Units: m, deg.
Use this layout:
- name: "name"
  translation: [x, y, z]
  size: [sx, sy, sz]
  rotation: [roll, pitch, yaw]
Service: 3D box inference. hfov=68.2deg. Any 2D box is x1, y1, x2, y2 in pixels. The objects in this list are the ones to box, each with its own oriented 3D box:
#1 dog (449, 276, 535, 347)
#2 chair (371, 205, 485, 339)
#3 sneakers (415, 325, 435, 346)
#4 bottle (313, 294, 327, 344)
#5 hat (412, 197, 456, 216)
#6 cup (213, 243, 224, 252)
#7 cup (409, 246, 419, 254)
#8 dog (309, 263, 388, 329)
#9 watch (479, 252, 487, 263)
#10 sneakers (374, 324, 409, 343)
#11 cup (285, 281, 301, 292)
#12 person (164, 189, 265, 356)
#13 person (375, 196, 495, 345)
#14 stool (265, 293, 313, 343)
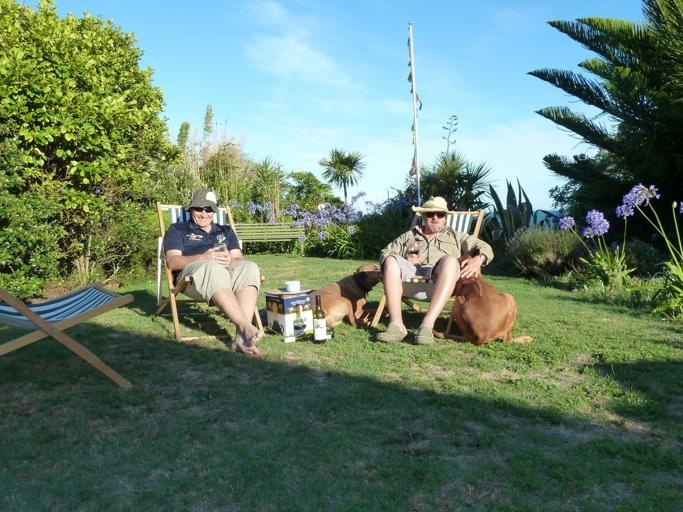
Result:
- name: "dog"
  translation: [1.399, 0.563, 4.838]
  size: [0.476, 0.413, 0.792]
  rotation: [-16, 44, 4]
- name: "chair"
  translation: [1.010, 0.073, 5.395]
  size: [1.196, 1.467, 2.063]
  rotation: [4, 5, 11]
- name: "sneakers"
  translation: [0.797, 0.759, 4.789]
  size: [0.146, 0.123, 0.278]
  rotation: [-1, -7, 7]
- name: "bottle"
  translation: [-0.212, 0.588, 4.973]
  size: [0.136, 0.453, 0.315]
  rotation: [-1, 11, -4]
- name: "hat"
  translation: [1.014, -0.547, 5.637]
  size: [0.265, 0.128, 0.294]
  rotation: [1, -4, -1]
- name: "cup"
  translation: [-1.174, -0.070, 4.785]
  size: [0.065, 0.069, 0.069]
  rotation: [0, 2, 0]
- name: "cup"
  translation: [0.780, -0.065, 5.361]
  size: [0.081, 0.085, 0.084]
  rotation: [-1, 2, 0]
- name: "dog"
  translation: [0.225, 0.442, 5.607]
  size: [1.088, 0.544, 0.379]
  rotation: [-29, 22, -32]
- name: "watch"
  translation: [1.477, 0.021, 5.187]
  size: [0.067, 0.096, 0.091]
  rotation: [-6, -11, 22]
- name: "sneakers"
  translation: [0.472, 0.730, 4.827]
  size: [0.144, 0.125, 0.277]
  rotation: [-5, -2, 37]
- name: "cup"
  translation: [-0.475, 0.307, 5.008]
  size: [0.114, 0.080, 0.116]
  rotation: [-1, 11, 0]
- name: "person"
  translation: [-1.242, 0.106, 4.876]
  size: [0.822, 1.414, 1.502]
  rotation: [-6, 12, -25]
- name: "person"
  translation: [1.073, 0.228, 5.516]
  size: [0.979, 1.256, 1.679]
  rotation: [2, -4, 17]
- name: "stool"
  translation: [-0.596, 0.553, 5.088]
  size: [0.510, 0.527, 0.417]
  rotation: [-2, 1, -45]
